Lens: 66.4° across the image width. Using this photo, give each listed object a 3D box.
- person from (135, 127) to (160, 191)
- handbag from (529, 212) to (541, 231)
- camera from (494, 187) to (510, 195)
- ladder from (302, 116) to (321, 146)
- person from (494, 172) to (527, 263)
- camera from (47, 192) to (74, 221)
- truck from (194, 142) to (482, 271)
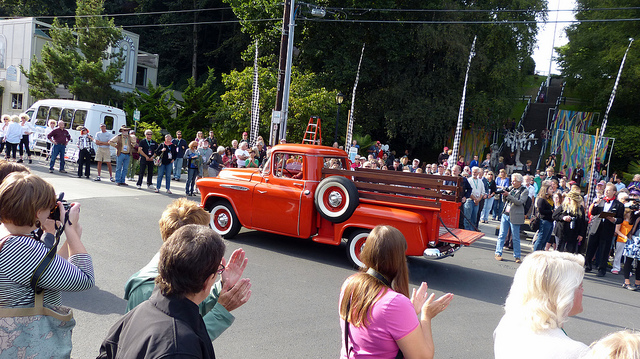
[{"bbox_3d":[-8.021,-0.951,22.829,0.944,2.754,1.508,4,5,-21],"label":"person"},{"bbox_3d":[7.818,1.558,17.831,0.269,0.491,0.338,5,4,-12],"label":"handbag"},{"bbox_3d":[7.088,0.463,19.092,0.202,0.447,0.816,-10,5,-10],"label":"camera"},{"bbox_3d":[-0.296,-2.027,22.259,0.979,1.538,0.982,-10,16,-44],"label":"ladder"},{"bbox_3d":[7.080,1.401,17.971,0.933,3.189,0.925,7,9,36],"label":"person"},{"bbox_3d":[-5.674,0.635,10.773,0.439,0.614,0.251,21,-2,-12],"label":"camera"},{"bbox_3d":[0.230,0.923,17.075,9.323,3.643,4.068,12,8,22],"label":"truck"}]
